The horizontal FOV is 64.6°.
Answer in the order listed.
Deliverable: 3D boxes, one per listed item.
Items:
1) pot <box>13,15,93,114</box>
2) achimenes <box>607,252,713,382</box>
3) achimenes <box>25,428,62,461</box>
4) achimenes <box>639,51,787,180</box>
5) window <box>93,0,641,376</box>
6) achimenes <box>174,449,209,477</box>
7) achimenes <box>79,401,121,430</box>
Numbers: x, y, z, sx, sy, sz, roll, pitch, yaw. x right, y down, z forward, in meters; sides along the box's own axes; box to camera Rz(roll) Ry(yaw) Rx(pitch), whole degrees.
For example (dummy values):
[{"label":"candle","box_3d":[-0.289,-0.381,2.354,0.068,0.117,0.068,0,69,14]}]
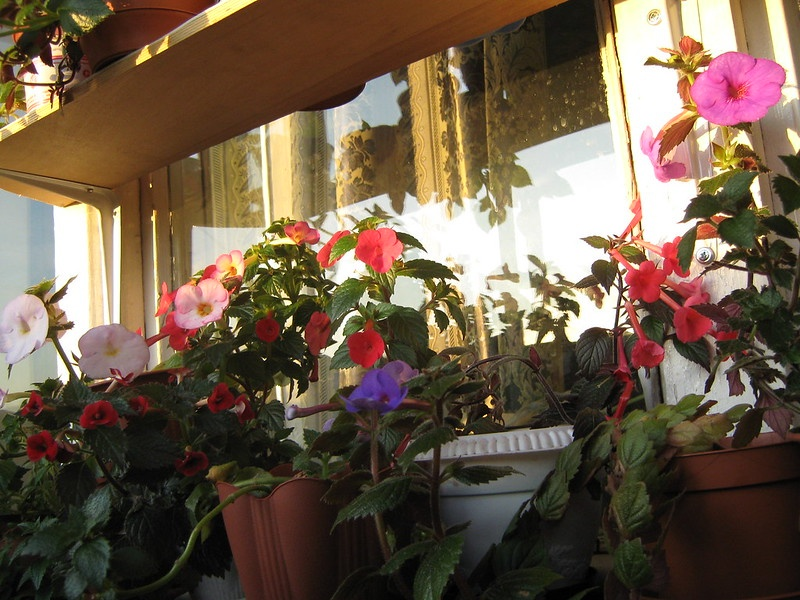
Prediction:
[{"label":"pot","box_3d":[-0.705,-0.484,1.295,0.118,0.176,0.127,-2,30,1]},{"label":"achimenes","box_3d":[0.414,0.020,1.040,0.111,0.200,0.069,-39,-38,14]},{"label":"achimenes","box_3d":[-0.565,0.231,0.999,0.044,0.051,0.024,-2,3,-21]},{"label":"achimenes","box_3d":[0.495,-0.291,1.017,0.124,0.192,0.205,-6,-3,-8]},{"label":"window","box_3d":[-0.036,-0.244,1.344,0.690,0.529,0.014,-13,-12,23]},{"label":"achimenes","box_3d":[-0.347,0.261,1.054,0.038,0.048,0.045,-20,-2,-31]},{"label":"achimenes","box_3d":[-0.465,0.178,0.977,0.054,0.042,0.027,-5,-3,-26]}]
